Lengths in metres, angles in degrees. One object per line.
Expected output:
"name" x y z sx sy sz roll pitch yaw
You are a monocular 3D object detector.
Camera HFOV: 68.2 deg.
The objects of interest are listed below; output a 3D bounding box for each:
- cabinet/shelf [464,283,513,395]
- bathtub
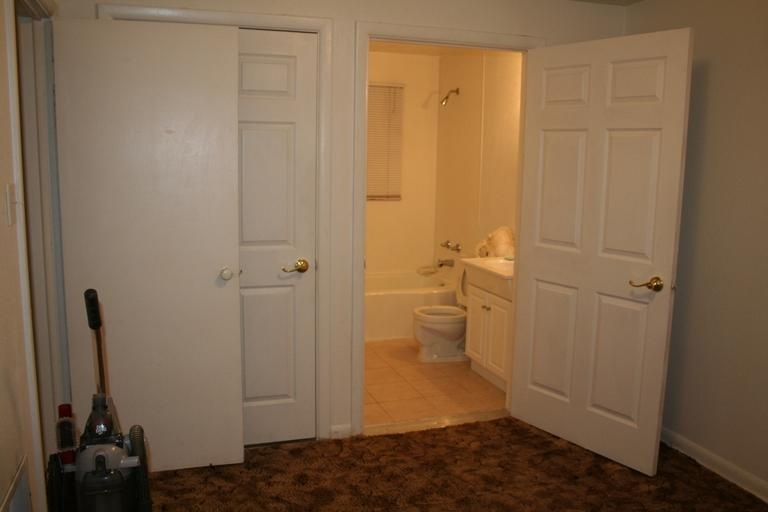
"cabinet/shelf" 0.891 0.703 4.786 0.408 0.738 0.760 2 15 -9
"bathtub" 0.196 0.534 6.087 0.841 0.331 0.653 -1 11 -18
